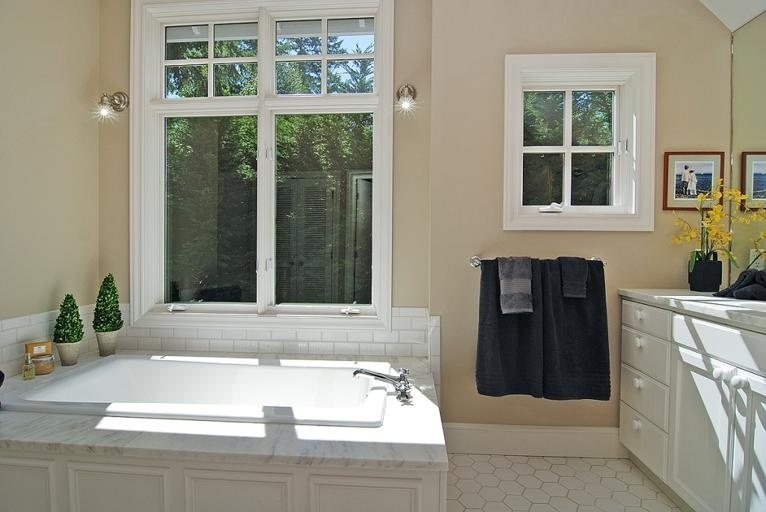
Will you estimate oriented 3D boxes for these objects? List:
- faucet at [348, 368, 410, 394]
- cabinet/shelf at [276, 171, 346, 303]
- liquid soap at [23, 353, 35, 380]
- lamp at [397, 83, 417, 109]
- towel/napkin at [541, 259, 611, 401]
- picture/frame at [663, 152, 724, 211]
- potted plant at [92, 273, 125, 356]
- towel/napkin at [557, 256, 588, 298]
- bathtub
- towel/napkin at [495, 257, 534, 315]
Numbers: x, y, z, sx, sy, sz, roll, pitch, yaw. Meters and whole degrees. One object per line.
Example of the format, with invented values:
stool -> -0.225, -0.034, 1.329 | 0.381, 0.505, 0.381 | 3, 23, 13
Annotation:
faucet -> -0.019, 0.872, 4.014 | 0.383, 0.154, 0.155 | 3, -9, 14
cabinet/shelf -> -0.602, -0.144, 4.801 | 0.550, 1.062, 0.156 | -1, 7, -4
liquid soap -> -2.511, 0.789, 4.135 | 0.065, 0.165, 0.074 | -4, 8, -25
lamp -> 0.184, -1.257, 4.605 | 0.160, 0.186, 0.045 | 1, 7, 6
towel/napkin -> 1.381, 0.527, 4.199 | 0.490, 1.003, 0.252 | 0, 7, -3
picture/frame -> 2.357, -0.566, 4.394 | 0.482, 0.527, 0.021 | 1, -1, 2
potted plant -> -2.186, 0.470, 4.612 | 0.203, 0.630, 0.162 | -4, 8, -26
towel/napkin -> 1.381, 0.169, 4.190 | 0.218, 0.261, 0.098 | -1, -2, -2
bathtub -> -1.230, 0.965, 4.179 | 1.664, 0.324, 0.873 | 1, 3, 0
towel/napkin -> 0.955, 0.210, 4.142 | 0.258, 0.386, 0.102 | -1, 1, 7
